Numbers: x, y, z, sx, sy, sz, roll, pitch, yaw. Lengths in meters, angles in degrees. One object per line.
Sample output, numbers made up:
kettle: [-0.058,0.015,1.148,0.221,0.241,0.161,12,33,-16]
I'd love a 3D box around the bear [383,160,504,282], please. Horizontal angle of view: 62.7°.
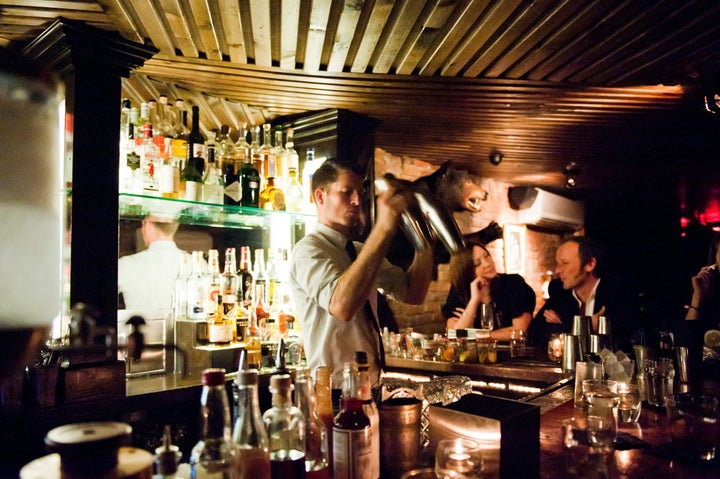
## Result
bear: [0.670,-0.221,5.916,1.514,0.639,0.453,-8,6,3]

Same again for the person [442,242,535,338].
person: [1.078,0.491,5.084,0.884,0.877,0.702,3,-16,-27]

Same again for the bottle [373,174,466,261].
bottle: [0.244,-0.096,2.400,0.393,0.283,0.189,6,-7,-38]
